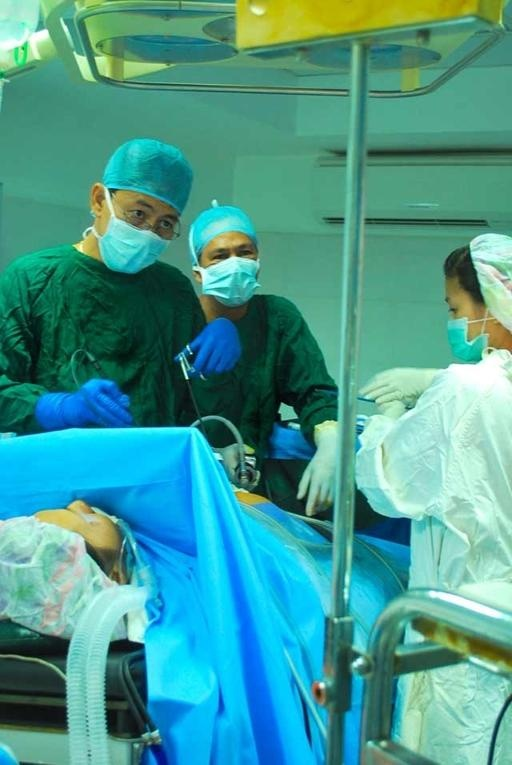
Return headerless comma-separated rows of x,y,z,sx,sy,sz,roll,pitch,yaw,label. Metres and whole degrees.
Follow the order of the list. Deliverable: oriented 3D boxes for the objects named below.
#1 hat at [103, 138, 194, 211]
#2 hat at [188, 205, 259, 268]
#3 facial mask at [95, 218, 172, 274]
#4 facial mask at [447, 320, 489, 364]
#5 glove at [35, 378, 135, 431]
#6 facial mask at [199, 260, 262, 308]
-0.252,-0.498,1.790,0.187,0.131,0.174,19,21,-21,hat
-0.097,-0.388,1.898,0.159,0.153,0.161,-9,9,13,hat
-0.308,-0.331,1.796,0.122,0.086,0.144,12,25,-48,facial mask
0.437,-0.076,1.444,0.093,0.053,0.074,-16,33,-6,facial mask
-0.369,0.054,1.607,0.182,0.078,0.127,2,-30,5,glove
-0.064,-0.255,1.817,0.115,0.076,0.128,-5,27,-11,facial mask
